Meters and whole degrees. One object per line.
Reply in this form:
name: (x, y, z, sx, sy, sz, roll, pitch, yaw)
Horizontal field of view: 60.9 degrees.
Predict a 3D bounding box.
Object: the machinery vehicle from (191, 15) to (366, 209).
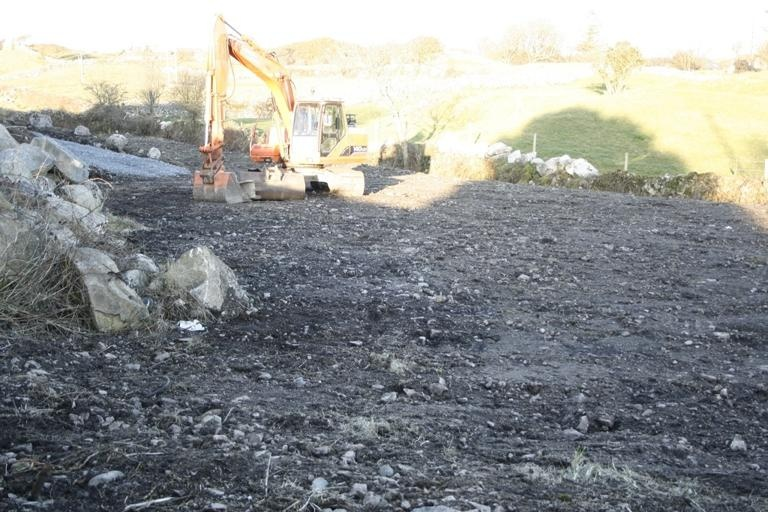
machinery vehicle: (-2.647, -3.203, 15.772, 3.405, 3.640, 5.863, 7, 12, 19)
